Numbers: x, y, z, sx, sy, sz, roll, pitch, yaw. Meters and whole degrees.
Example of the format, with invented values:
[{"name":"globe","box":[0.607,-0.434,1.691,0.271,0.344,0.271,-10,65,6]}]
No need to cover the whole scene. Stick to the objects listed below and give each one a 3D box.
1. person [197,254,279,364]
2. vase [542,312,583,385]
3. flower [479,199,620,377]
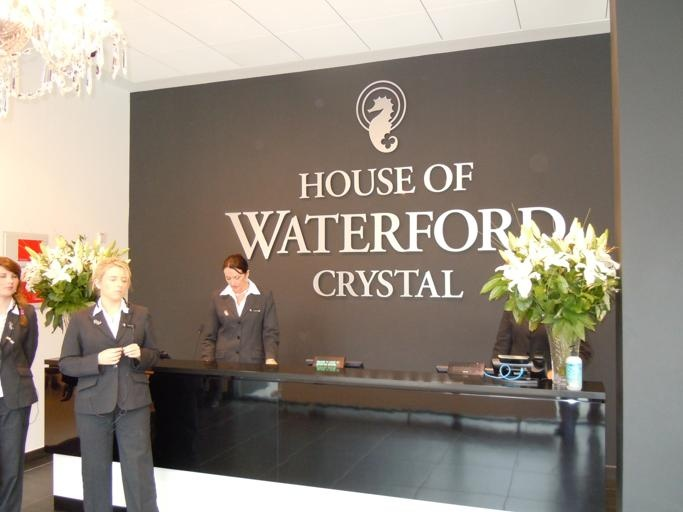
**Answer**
[{"name":"person","box":[-0.928,0.490,4.636,0.682,0.979,0.354,2,-4,-11]},{"name":"vase","box":[1.473,0.645,3.287,0.250,0.444,0.287,10,-15,3]},{"name":"flower","box":[1.346,0.251,3.200,0.745,1.013,0.489,-1,-4,27]}]
